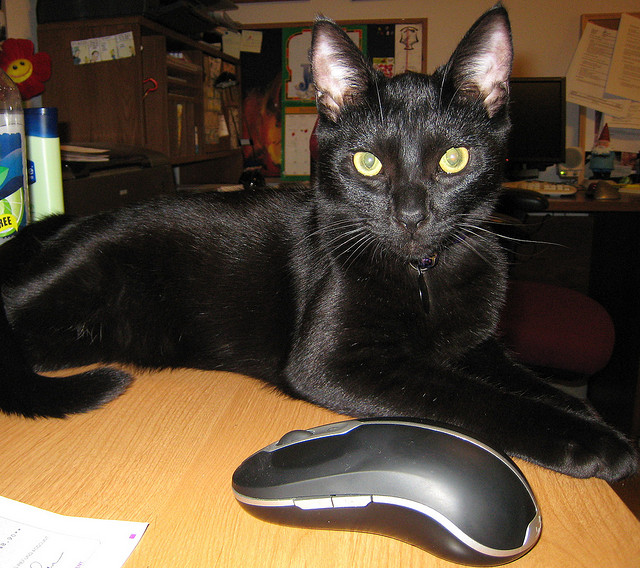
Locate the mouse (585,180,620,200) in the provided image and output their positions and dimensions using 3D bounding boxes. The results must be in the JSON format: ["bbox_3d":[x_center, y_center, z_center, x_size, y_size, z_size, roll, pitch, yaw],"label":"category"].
[{"bbox_3d":[1.079,-0.361,2.141,0.090,0.049,0.150,1,8,7],"label":"mouse"}]

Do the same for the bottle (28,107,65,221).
[{"bbox_3d":[-0.475,-0.204,0.961,0.063,0.186,0.042,18,23,31],"label":"bottle"}]

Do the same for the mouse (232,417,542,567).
[{"bbox_3d":[0.056,0.165,0.513,0.247,0.072,0.116,5,10,15],"label":"mouse"}]

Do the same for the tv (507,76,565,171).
[{"bbox_3d":[0.989,-0.775,2.621,0.427,0.398,0.042,-9,13,-23],"label":"tv"}]
